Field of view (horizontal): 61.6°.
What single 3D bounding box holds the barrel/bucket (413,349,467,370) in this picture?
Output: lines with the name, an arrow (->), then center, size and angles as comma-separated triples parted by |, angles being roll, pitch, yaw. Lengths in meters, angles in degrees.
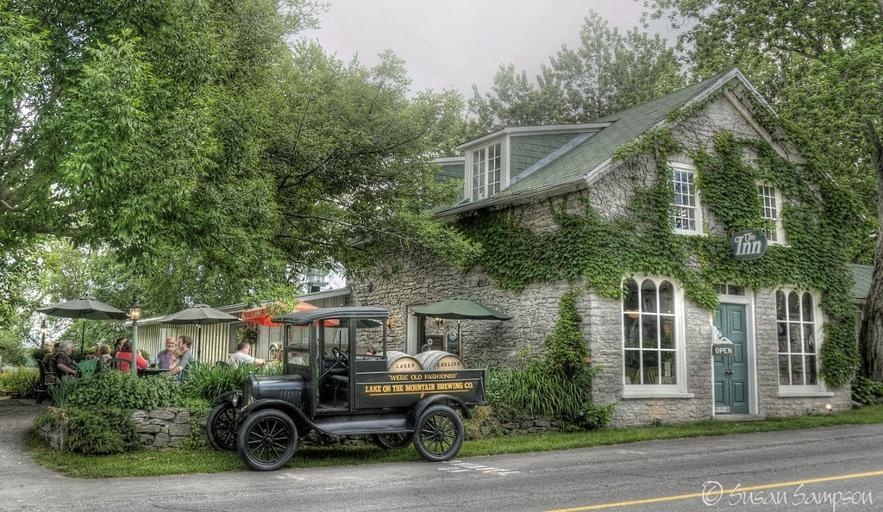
barrel/bucket -> -0.006, 2.988, 21.322 | 1.013, 0.686, 0.763 | 1, 12, 24

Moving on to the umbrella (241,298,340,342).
umbrella -> -4.703, 1.944, 23.418 | 2.400, 0.762, 2.314 | 6, -7, -43

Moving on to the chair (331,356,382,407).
chair -> -1.991, 3.292, 19.479 | 1.193, 1.599, 1.677 | 10, -15, -32

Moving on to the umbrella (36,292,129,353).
umbrella -> -12.129, 1.849, 25.274 | 2.290, 0.789, 1.810 | 2, 4, 9

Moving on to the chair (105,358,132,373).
chair -> -9.914, 3.352, 22.778 | 0.383, 0.460, 0.361 | 7, -18, -24

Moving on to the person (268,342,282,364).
person -> -6.769, 3.910, 30.165 | 0.750, 0.860, 0.737 | 6, -13, -20

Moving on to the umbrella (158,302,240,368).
umbrella -> -10.027, 3.346, 31.001 | 2.936, 2.124, 3.107 | 2, -5, 14

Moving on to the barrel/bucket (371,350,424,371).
barrel/bucket -> -1.022, 2.816, 19.848 | 1.001, 0.671, 0.690 | -2, 4, 12

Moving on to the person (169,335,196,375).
person -> -7.921, 2.992, 22.522 | 0.654, 1.056, 1.580 | 0, 5, -18
